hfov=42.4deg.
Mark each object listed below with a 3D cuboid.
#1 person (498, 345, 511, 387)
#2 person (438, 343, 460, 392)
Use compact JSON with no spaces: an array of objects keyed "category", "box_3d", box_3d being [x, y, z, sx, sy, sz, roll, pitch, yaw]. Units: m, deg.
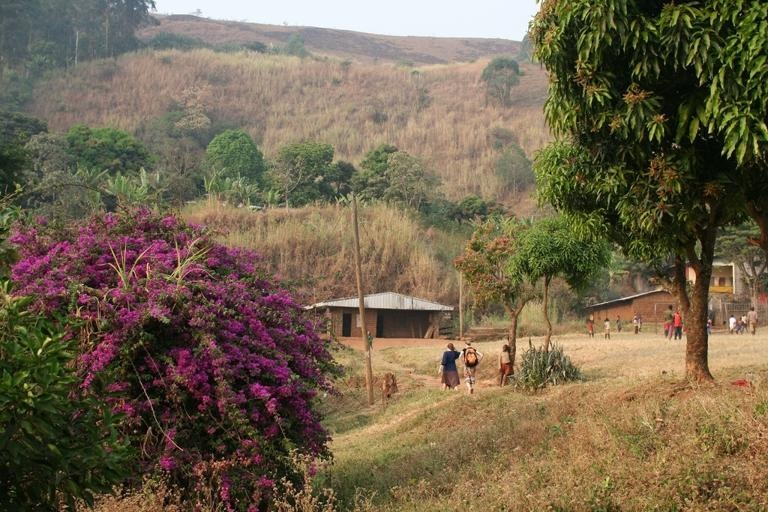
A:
[{"category":"person","box_3d":[5.742,5.084,47.409,0.585,2.260,0.572,-2,28,0]},{"category":"person","box_3d":[3.170,5.253,47.943,0.928,2.186,1.311,-4,-4,-1]}]
